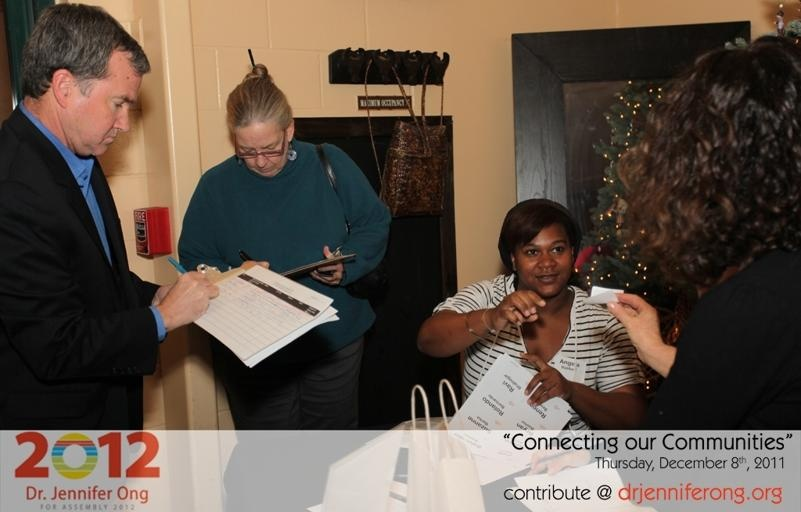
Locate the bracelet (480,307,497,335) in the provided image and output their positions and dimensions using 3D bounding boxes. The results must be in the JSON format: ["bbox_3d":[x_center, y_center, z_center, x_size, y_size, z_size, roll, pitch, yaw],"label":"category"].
[{"bbox_3d":[0.321,0.235,2.113,0.033,0.082,0.062,-12,14,13],"label":"bracelet"}]
